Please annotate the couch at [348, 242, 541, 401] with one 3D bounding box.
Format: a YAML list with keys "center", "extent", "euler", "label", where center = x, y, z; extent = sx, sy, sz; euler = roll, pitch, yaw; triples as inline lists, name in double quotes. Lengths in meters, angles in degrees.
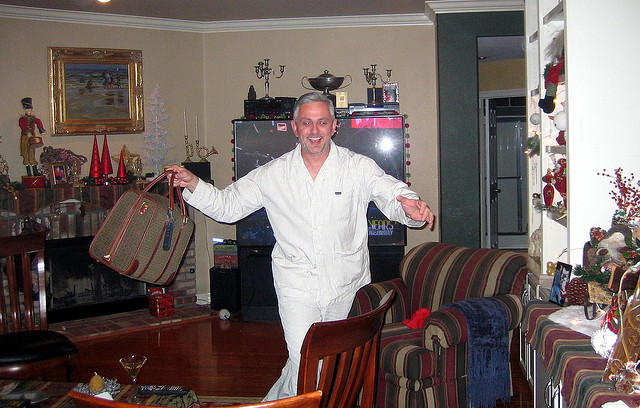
- center: [0.901, 0.881, 3.822]
  extent: [1.194, 1.202, 1.455]
  euler: [0, 0, -29]
  label: "couch"

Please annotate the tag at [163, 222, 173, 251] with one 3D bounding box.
- center: [-0.894, 0.192, 2.923]
  extent: [0.062, 0.165, 0.018]
  euler: [-9, 13, -41]
  label: "tag"

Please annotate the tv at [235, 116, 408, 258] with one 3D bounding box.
- center: [0.020, -0.284, 5.239]
  extent: [1.857, 1.320, 0.027]
  euler: [-1, -2, 5]
  label: "tv"

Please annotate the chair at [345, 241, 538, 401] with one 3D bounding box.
- center: [0.888, 0.769, 3.894]
  extent: [1.221, 1.105, 1.361]
  euler: [-1, 1, -30]
  label: "chair"

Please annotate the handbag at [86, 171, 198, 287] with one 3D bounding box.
- center: [-1.013, 0.108, 3.073]
  extent: [0.498, 0.677, 0.428]
  euler: [23, -6, 27]
  label: "handbag"
